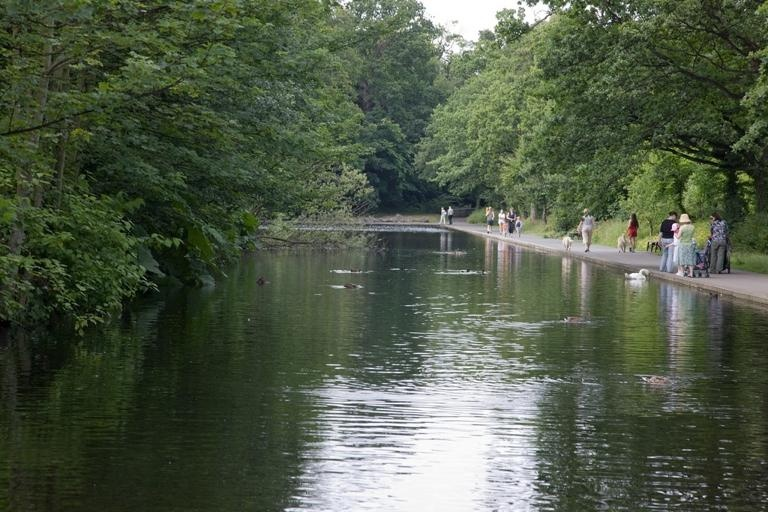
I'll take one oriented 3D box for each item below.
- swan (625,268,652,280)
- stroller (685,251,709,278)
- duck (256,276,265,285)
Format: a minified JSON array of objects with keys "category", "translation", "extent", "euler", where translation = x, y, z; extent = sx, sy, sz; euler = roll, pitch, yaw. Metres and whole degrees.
[{"category":"swan","translation":[8.250,0.612,33.131],"extent":[0.701,0.342,1.514],"euler":[0,-1,12]},{"category":"stroller","translation":[10.171,0.260,33.454],"extent":[0.749,0.904,1.012],"euler":[2,8,17]},{"category":"duck","translation":[-3.815,0.732,30.477],"extent":[0.218,0.128,0.324],"euler":[12,4,0]}]
